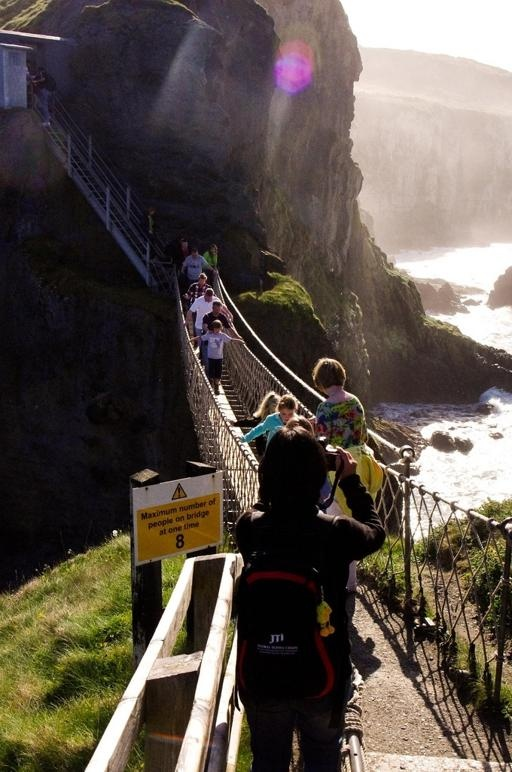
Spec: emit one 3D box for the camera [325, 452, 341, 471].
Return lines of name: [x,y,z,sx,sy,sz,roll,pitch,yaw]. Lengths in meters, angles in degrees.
camera: [0.265,0.266,2.753,0.055,0.072,0.015,1,3,-8]

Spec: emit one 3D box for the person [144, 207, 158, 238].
person: [-2.392,-3.731,17.839,0.240,0.752,1.037,0,7,-7]
